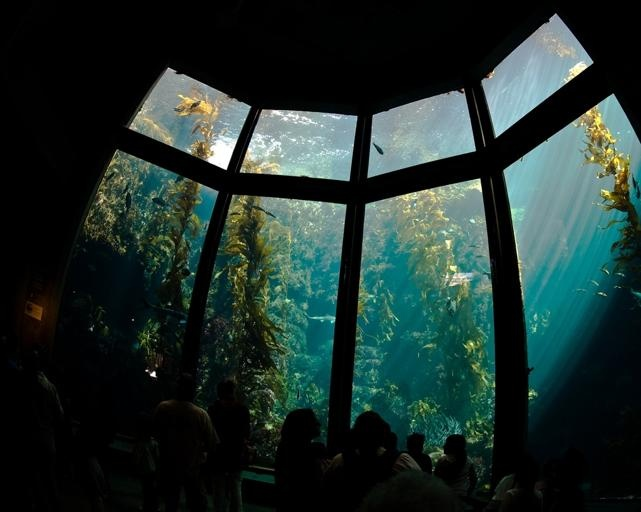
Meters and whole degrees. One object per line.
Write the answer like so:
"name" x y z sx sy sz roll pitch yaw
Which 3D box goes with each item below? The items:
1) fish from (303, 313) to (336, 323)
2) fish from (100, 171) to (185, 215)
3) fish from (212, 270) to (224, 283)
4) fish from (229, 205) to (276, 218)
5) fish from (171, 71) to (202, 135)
"fish" -0.007 0.671 5.416 0.347 0.081 0.102 11 -1 17
"fish" -1.987 -0.718 5.416 0.837 0.478 0.177 8 -22 -10
"fish" -1.152 0.207 5.508 0.104 0.116 0.026 0 -22 8
"fish" -0.772 -0.528 5.626 0.517 0.150 0.028 6 -22 -5
"fish" -1.516 -1.742 5.489 0.362 0.512 0.250 13 -24 -22
